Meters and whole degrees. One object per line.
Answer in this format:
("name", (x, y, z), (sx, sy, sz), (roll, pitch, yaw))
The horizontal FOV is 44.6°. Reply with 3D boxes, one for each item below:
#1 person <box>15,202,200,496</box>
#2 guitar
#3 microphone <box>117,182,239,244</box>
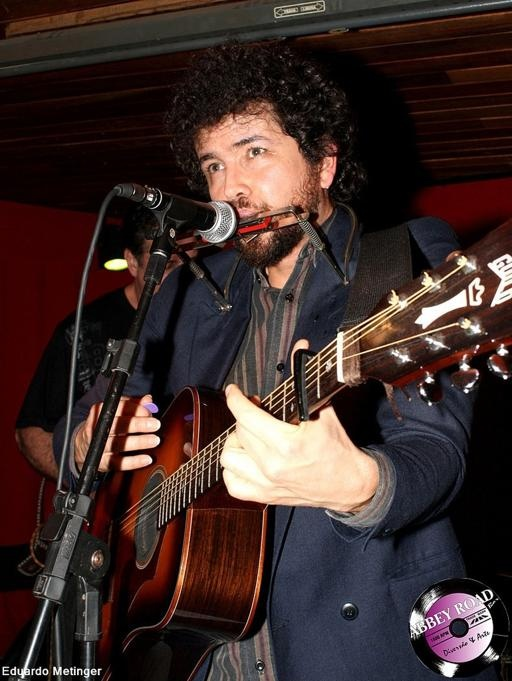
("person", (-0.957, 0.102, 3.370), (0.276, 0.739, 1.818), (6, -44, -29))
("guitar", (-0.012, 0.279, 1.220), (0.203, 0.623, 1.365), (9, -28, -25))
("microphone", (-0.144, -0.257, 1.296), (0.288, 0.093, 0.095), (7, 31, -48))
